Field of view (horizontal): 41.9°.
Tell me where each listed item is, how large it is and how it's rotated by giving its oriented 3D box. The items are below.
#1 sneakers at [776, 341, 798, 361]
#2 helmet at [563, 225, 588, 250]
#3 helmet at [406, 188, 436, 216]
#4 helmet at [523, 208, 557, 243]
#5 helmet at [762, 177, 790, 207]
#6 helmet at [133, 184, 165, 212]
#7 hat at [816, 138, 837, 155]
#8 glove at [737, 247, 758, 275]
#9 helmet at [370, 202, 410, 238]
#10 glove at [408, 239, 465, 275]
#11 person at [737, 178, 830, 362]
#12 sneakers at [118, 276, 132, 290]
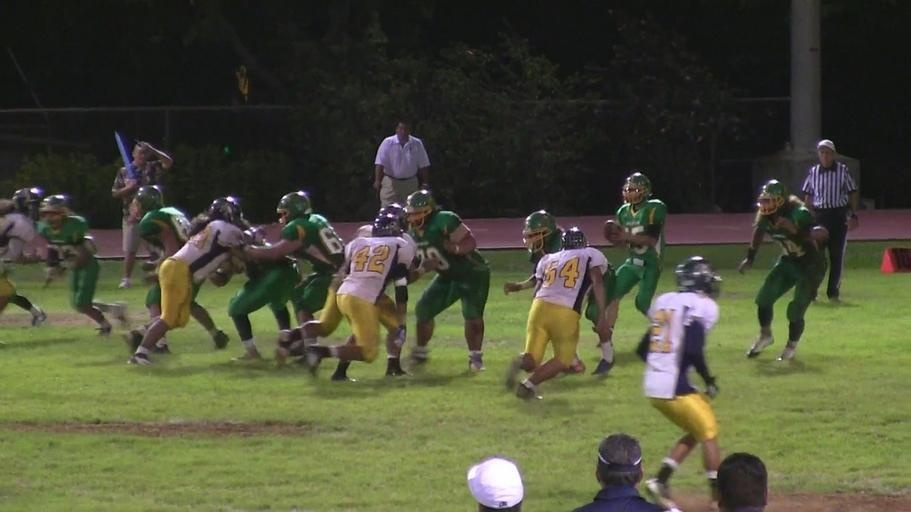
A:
[{"bbox_3d":[5.710,1.664,20.615,0.306,0.329,0.237,1,2,7],"label":"sneakers"},{"bbox_3d":[1.995,-0.271,19.765,0.463,0.363,0.308,3,-3,-14],"label":"helmet"},{"bbox_3d":[-0.614,-0.927,20.716,0.519,0.413,0.638,0,2,-10],"label":"helmet"},{"bbox_3d":[1.425,-0.527,20.443,0.614,0.427,0.418,2,3,-6],"label":"helmet"},{"bbox_3d":[5.495,-1.078,20.599,0.451,0.439,0.309,1,2,11],"label":"helmet"},{"bbox_3d":[-5.617,-1.078,22.017,0.546,0.534,0.434,7,17,-45],"label":"helmet"},{"bbox_3d":[7.348,-2.187,23.688,0.276,0.227,0.330,1,2,25],"label":"hat"},{"bbox_3d":[5.962,0.126,24.373,0.715,0.216,0.258,-40,54,-22],"label":"glove"},{"bbox_3d":[-1.074,-0.596,20.254,0.699,0.539,0.453,0,2,-28],"label":"helmet"},{"bbox_3d":[-0.408,0.026,20.524,0.644,0.563,0.240,-19,11,16],"label":"glove"},{"bbox_3d":[5.736,0.236,20.858,1.399,3.141,0.953,1,2,11],"label":"person"},{"bbox_3d":[-7.080,0.582,25.504,0.328,0.194,0.191,8,4,41],"label":"sneakers"}]
